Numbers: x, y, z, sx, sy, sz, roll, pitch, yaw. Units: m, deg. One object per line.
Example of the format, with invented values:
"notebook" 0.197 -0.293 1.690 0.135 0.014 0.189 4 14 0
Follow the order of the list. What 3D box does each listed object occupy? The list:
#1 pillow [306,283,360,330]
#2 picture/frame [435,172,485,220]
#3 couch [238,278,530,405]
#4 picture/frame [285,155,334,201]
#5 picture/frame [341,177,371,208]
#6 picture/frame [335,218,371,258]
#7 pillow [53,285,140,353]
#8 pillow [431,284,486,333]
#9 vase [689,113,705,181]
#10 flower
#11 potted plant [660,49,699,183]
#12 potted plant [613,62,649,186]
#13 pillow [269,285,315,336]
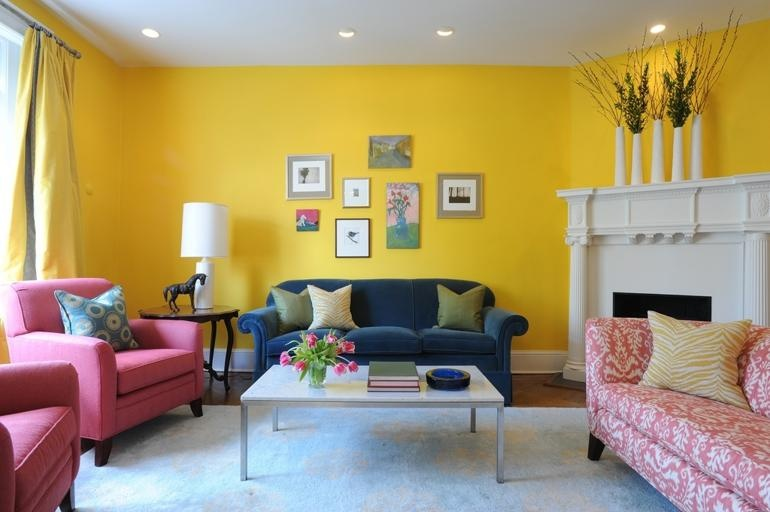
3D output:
"pillow" -0.543 0.552 6.123 0.439 0.430 0.168 0 -21 -8
"picture/frame" 0.856 -0.680 6.586 0.535 0.488 0.057 1 4 -1
"couch" -0.008 0.812 6.119 2.738 1.140 0.929 0 1 0
"picture/frame" -0.841 -0.896 6.619 0.526 0.474 0.069 0 3 -1
"picture/frame" -0.308 -0.715 6.604 0.348 0.344 0.024 1 3 0
"picture/frame" -0.341 -0.205 6.603 0.448 0.499 0.021 1 3 3
"pillow" -2.499 0.580 5.139 0.321 0.576 0.632 -3 -1 30
"pillow" 0.769 0.569 6.096 0.440 0.400 0.167 4 -30 10
"vase" 3.134 -1.094 5.881 0.101 0.664 0.224 0 3 25
"flower" -0.612 0.874 4.779 0.538 0.352 0.538 -7 -11 -43
"potted plant" 3.046 -1.479 6.027 0.321 1.422 0.413 0 3 25
"potted plant" 2.628 -1.415 6.223 0.347 1.315 0.424 0 3 22
"pillow" -0.947 0.582 6.171 0.200 0.499 0.519 -15 -13 36
